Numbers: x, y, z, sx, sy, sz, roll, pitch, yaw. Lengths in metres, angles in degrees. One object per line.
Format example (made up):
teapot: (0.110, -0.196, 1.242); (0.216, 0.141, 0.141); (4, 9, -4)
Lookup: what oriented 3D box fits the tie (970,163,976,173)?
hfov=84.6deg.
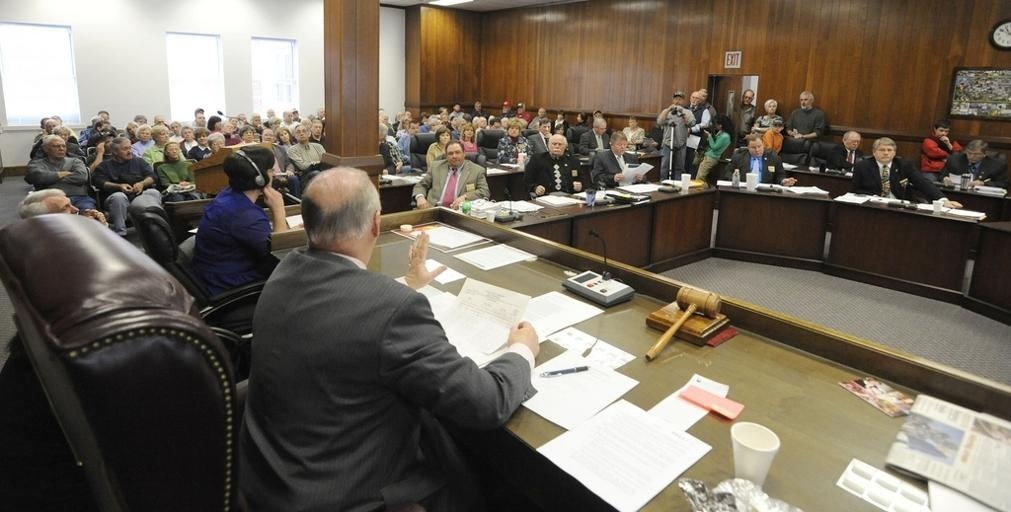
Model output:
tie: (6.730, -1.232, 7.952); (0.080, 0.130, 0.100); (-2, 30, 36)

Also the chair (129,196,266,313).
chair: (-2.349, 0.000, 4.279); (0.694, 0.823, 0.604); (-29, 43, -28)

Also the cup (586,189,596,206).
cup: (1.014, -0.675, 6.541); (0.180, 0.191, 0.095); (-17, 24, -33)

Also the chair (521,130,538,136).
chair: (0.412, -2.163, 9.912); (0.172, 0.117, 0.163); (4, 24, 6)

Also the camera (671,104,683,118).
camera: (3.307, -2.751, 10.712); (0.189, 0.235, 0.237); (6, 9, -6)

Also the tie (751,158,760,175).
tie: (3.590, -1.259, 7.933); (0.151, 0.213, 0.145); (9, 23, 29)

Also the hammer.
hammer: (1.161, 0.427, 3.637); (0.409, 0.220, 0.669); (17, 34, 39)

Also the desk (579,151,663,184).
desk: (1.635, -1.229, 7.739); (0.777, 0.386, 1.051); (-12, 25, -20)

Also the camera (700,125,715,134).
camera: (3.954, -2.422, 10.808); (0.248, 0.235, 0.155); (2, 12, 35)

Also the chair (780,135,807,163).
chair: (4.942, -1.759, 9.458); (0.395, 0.544, 0.477); (11, 15, 39)

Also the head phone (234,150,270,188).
head phone: (-2.180, -0.729, 4.701); (0.108, 0.265, 0.305); (-45, 27, -15)

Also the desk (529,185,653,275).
desk: (0.997, -0.331, 6.675); (1.611, 0.765, 0.864); (-10, 22, -34)

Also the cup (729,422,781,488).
cup: (1.358, 1.077, 3.022); (0.239, 0.295, 0.193); (0, 20, 9)

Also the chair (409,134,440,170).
chair: (-1.461, -1.781, 9.650); (0.553, 0.759, 0.632); (-2, 11, -30)

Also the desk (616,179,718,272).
desk: (2.122, -0.444, 7.581); (1.738, 1.120, 0.930); (-12, 27, -27)

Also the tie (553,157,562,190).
tie: (0.700, -1.055, 7.503); (0.102, 0.329, 0.184); (-2, 20, 4)

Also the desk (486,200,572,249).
desk: (0.294, -0.383, 6.188); (0.628, 0.379, 0.621); (-14, 23, -43)
